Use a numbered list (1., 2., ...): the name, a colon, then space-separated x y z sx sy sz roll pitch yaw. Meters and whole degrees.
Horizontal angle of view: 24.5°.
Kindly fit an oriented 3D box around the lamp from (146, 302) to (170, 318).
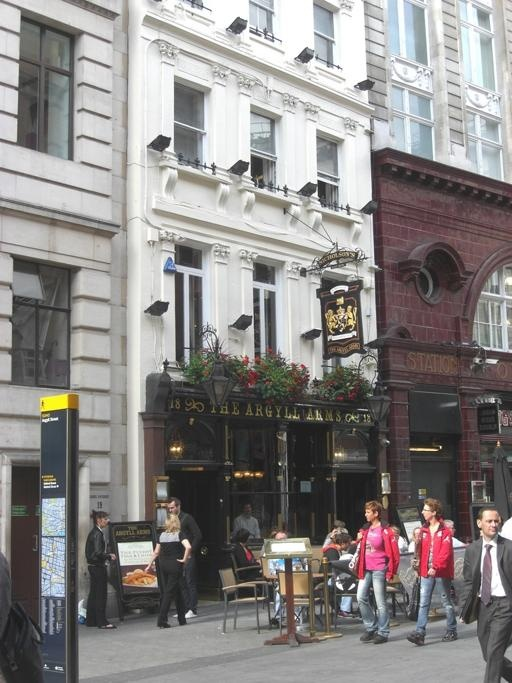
1. lamp: -1.609 -0.573 20.102 0.344 0.243 0.497 -8 -10 36

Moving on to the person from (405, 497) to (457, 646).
1. person: 2.313 3.002 15.530 0.611 1.828 1.494 -3 -8 9

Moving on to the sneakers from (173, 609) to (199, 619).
1. sneakers: -1.060 4.288 18.446 0.148 0.177 0.422 -11 -21 32

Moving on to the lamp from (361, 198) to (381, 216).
1. lamp: 2.437 -2.876 25.145 0.259 0.132 0.345 8 -33 -27

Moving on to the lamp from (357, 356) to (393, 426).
1. lamp: 2.454 0.923 24.204 0.636 1.578 1.367 -3 -8 7

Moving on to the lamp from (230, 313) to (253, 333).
1. lamp: -0.202 -0.386 21.737 0.317 0.312 0.489 -9 -10 41

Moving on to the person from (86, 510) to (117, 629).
1. person: -2.327 3.422 17.674 0.419 1.716 0.659 -1 -8 -9

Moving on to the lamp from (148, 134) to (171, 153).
1. lamp: -1.615 -3.486 20.603 0.357 0.249 0.408 -10 -11 41

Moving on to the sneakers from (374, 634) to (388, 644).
1. sneakers: 1.613 3.832 15.138 0.130 0.102 0.289 -9 -10 37

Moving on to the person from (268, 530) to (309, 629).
1. person: 0.555 3.655 17.002 0.601 0.911 0.641 -8 15 -29

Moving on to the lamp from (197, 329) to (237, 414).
1. lamp: -0.625 0.320 20.062 0.535 1.498 0.529 2 -21 -16

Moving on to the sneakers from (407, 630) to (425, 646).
1. sneakers: 2.030 3.744 14.860 0.213 0.178 0.268 -4 -8 8

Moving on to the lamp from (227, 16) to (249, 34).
1. lamp: -0.304 -6.062 22.510 0.317 0.337 0.417 -10 -11 42

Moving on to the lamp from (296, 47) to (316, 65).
1. lamp: 1.045 -5.847 24.069 0.284 0.345 0.521 -20 -1 14

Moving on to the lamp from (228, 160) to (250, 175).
1. lamp: -0.253 -3.311 22.205 0.303 0.279 0.465 -9 -10 38

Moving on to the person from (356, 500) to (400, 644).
1. person: 1.581 3.015 15.461 0.568 1.804 0.588 -4 -8 15

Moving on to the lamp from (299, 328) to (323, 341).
1. lamp: 1.157 -0.159 23.300 0.519 0.219 0.321 3 -10 -37

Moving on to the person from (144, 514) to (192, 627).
1. person: -1.213 3.353 17.248 0.538 1.657 0.718 -1 -8 -7

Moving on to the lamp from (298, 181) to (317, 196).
1. lamp: 1.098 -3.092 23.756 0.303 0.298 0.510 -6 -9 24

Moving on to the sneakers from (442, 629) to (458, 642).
1. sneakers: 2.530 3.830 15.283 0.088 0.114 0.249 -10 -24 32

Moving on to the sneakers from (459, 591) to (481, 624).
1. sneakers: 2.165 2.689 11.815 0.092 0.316 0.222 12 8 17
